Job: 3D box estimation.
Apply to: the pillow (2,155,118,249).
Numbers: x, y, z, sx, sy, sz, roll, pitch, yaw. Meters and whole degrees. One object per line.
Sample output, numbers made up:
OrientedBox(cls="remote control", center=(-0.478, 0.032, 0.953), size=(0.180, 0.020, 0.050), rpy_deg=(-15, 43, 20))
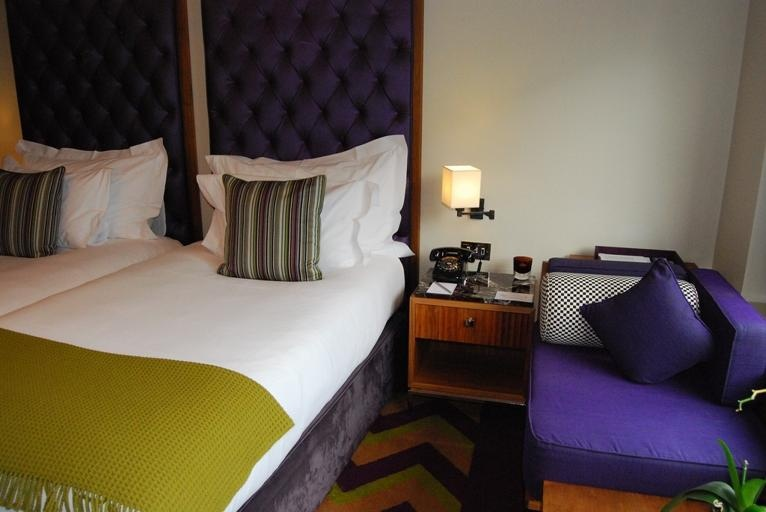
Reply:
OrientedBox(cls="pillow", center=(-1.881, -0.302, 3.171), size=(0.405, 0.493, 0.140), rpy_deg=(-1, 0, 16))

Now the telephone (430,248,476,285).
OrientedBox(cls="telephone", center=(0.497, 0.041, 3.248), size=(0.295, 0.228, 0.228), rpy_deg=(4, -10, -30))

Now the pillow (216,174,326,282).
OrientedBox(cls="pillow", center=(-0.590, -0.137, 2.892), size=(0.516, 0.525, 0.200), rpy_deg=(2, -4, 13))

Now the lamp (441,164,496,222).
OrientedBox(cls="lamp", center=(0.519, -0.367, 3.229), size=(0.309, 0.337, 0.310), rpy_deg=(2, 13, 12))

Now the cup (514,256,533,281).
OrientedBox(cls="cup", center=(0.819, 0.067, 3.189), size=(0.120, 0.151, 0.129), rpy_deg=(1, 21, 0))

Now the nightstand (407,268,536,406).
OrientedBox(cls="nightstand", center=(0.554, 0.442, 3.291), size=(0.811, 0.807, 0.680), rpy_deg=(3, 12, 17))
